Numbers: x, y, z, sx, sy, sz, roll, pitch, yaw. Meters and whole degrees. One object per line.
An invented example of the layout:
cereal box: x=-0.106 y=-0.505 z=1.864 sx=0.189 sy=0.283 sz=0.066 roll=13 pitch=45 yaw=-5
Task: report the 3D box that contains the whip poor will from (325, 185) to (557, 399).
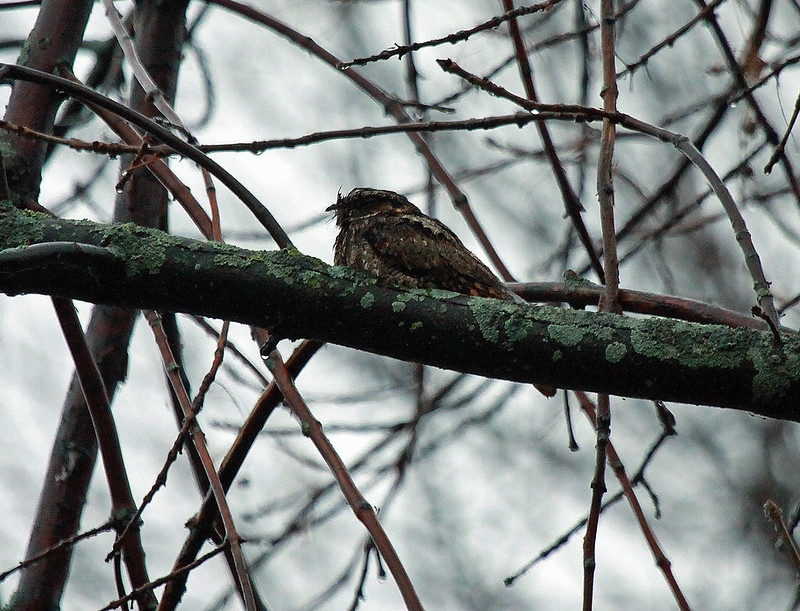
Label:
whip poor will: x=0.227 y=-0.172 z=6.597 sx=1.385 sy=0.692 sz=0.508 roll=12 pitch=-21 yaw=12
